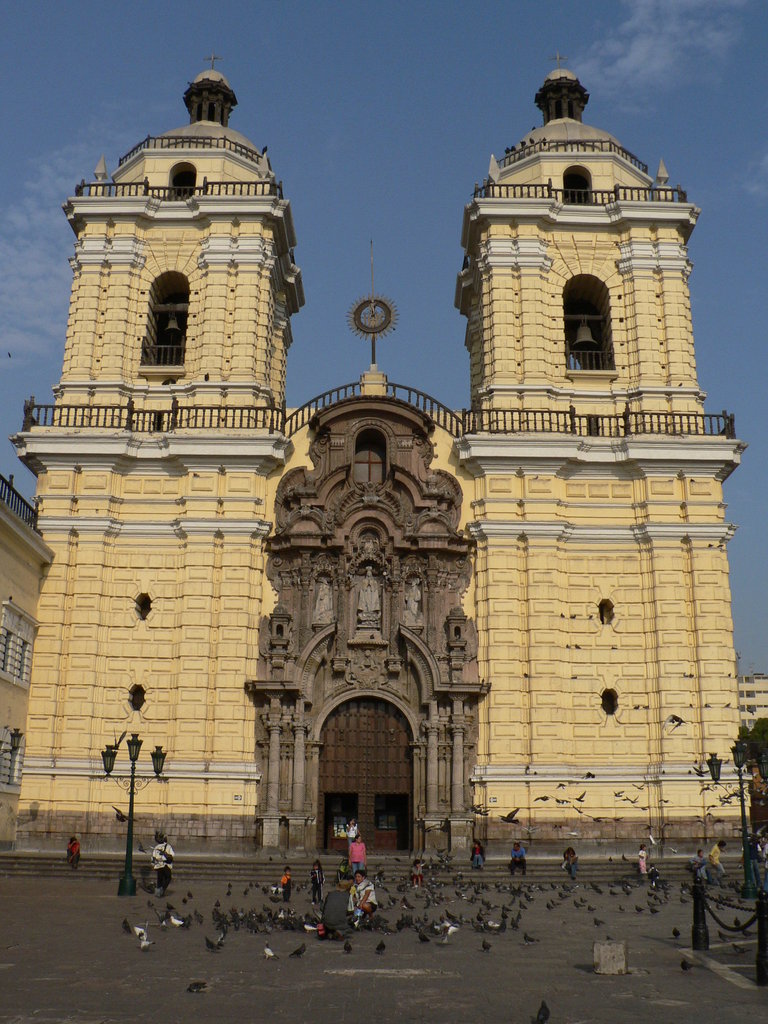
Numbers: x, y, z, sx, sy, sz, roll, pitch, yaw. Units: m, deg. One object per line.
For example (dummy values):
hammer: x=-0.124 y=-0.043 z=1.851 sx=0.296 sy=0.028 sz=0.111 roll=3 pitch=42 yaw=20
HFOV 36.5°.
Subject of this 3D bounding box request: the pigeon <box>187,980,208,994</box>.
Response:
pigeon: x=-1.784 y=4.515 z=11.083 sx=0.188 sy=0.092 sz=0.387 roll=2 pitch=-18 yaw=-9
